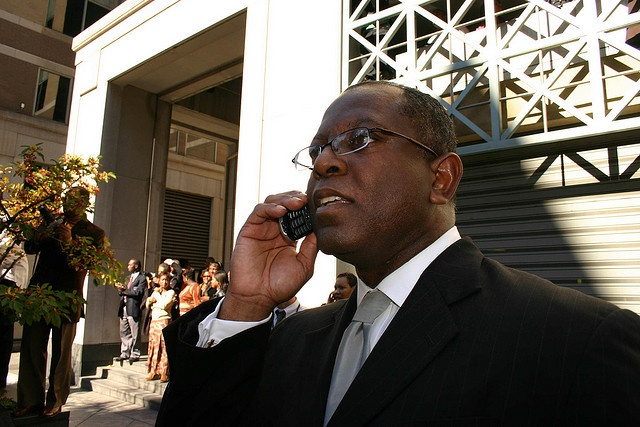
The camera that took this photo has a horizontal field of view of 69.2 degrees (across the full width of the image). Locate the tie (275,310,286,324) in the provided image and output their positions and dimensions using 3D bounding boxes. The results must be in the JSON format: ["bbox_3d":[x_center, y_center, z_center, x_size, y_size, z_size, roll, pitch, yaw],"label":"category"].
[{"bbox_3d":[-0.274,0.714,3.176,0.063,0.094,0.038,10,0,-17],"label":"tie"}]

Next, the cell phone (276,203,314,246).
[{"bbox_3d":[-0.145,0.065,2.821,0.200,0.126,0.110,-35,-30,23],"label":"cell phone"}]

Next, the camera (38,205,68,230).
[{"bbox_3d":[-3.067,0.047,5.290,0.185,0.220,0.464,-2,-13,-4],"label":"camera"}]
